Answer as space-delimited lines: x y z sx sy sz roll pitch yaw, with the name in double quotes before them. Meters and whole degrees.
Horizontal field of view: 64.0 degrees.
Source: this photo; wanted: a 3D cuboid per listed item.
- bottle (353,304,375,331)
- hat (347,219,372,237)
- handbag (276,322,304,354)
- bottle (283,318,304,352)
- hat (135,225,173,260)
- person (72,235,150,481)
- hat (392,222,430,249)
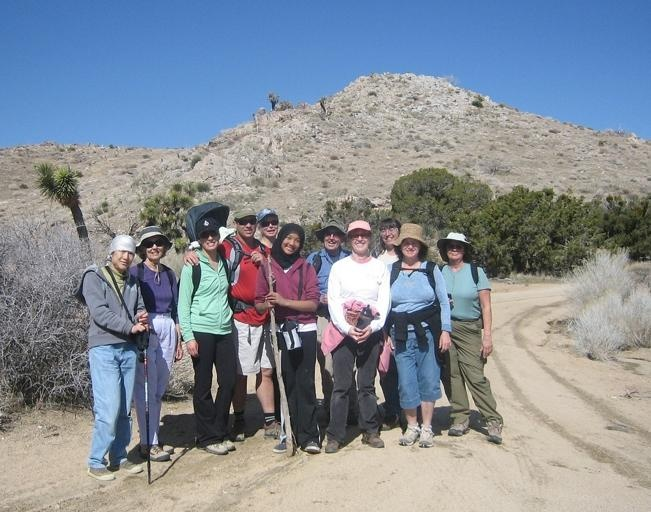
"bottle" 0.467 0.713 6.154 0.232 0.265 0.135 -2 10 -6
"hat" 0.414 -0.336 6.455 0.270 0.200 0.264 -1 10 -2
"handbag" -0.407 0.970 6.447 0.262 0.408 0.318 -26 -12 -2
"bottle" -0.412 0.975 6.336 0.248 0.368 0.214 -1 10 -5
"hat" -2.243 -0.233 6.623 0.373 0.248 0.464 -12 -24 -33
"person" -2.455 1.194 6.044 0.679 2.803 0.821 7 13 38
"hat" 1.102 -0.296 6.749 0.277 0.229 0.401 2 -11 6
